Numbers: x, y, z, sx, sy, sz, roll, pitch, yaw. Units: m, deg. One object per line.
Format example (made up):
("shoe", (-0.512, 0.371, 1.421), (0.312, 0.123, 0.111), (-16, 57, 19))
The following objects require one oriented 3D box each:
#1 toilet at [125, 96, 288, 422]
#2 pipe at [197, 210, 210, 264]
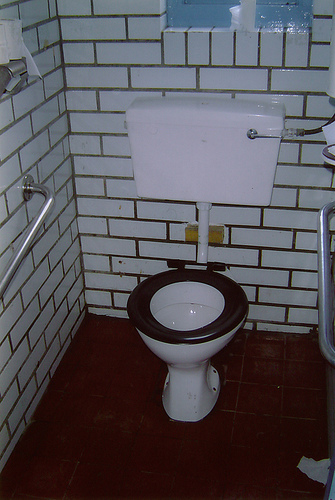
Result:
("toilet", (0.060, 0.079, 1.356), (0.529, 1.086, 0.577), (9, 27, 15))
("pipe", (0.166, -0.066, 1.572), (0.056, 0.267, 0.065), (3, -2, 28))
